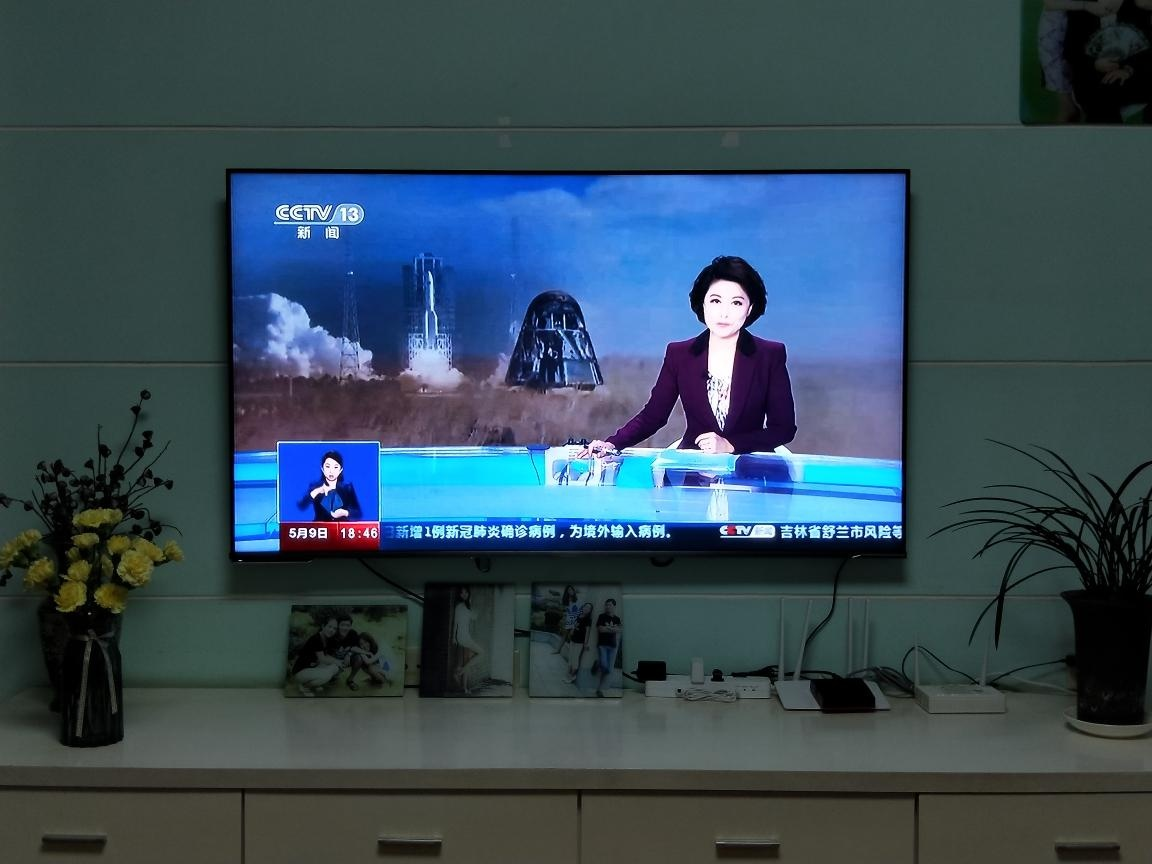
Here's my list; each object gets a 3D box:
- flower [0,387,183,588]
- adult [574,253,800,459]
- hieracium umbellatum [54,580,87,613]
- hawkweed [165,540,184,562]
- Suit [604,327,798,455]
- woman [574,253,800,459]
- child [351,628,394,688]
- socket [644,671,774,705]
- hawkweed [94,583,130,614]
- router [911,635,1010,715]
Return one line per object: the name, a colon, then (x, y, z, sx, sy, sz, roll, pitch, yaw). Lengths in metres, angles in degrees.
flower: (-1.465, 0.178, 3.828, 0.534, 0.598, 0.396, -1, 1, -11)
adult: (0.339, -0.158, 4.203, 0.767, 0.779, 0.541, 0, 0, 11)
hieracium umbellatum: (-1.385, 0.456, 3.565, 0.081, 0.086, 0.049, -1, 1, -24)
hawkweed: (-1.155, 0.351, 3.750, 0.061, 0.061, 0.067, 3, -8, -5)
Suit: (0.429, -0.113, 3.934, 0.296, 0.339, 0.600, 0, -3, 17)
woman: (0.340, -0.159, 4.187, 0.767, 0.779, 0.541, 0, 0, 11)
child: (-0.624, 0.682, 3.896, 0.114, 0.163, 0.156, -3, 8, 0)
socket: (0.405, 0.766, 3.885, 0.270, 0.047, 0.135, 1, -2, -1)
hawkweed: (-1.288, 0.465, 3.597, 0.083, 0.085, 0.039, -1, 1, -24)
router: (1.148, 0.747, 3.914, 0.313, 0.199, 0.315, 3, -7, -32)
